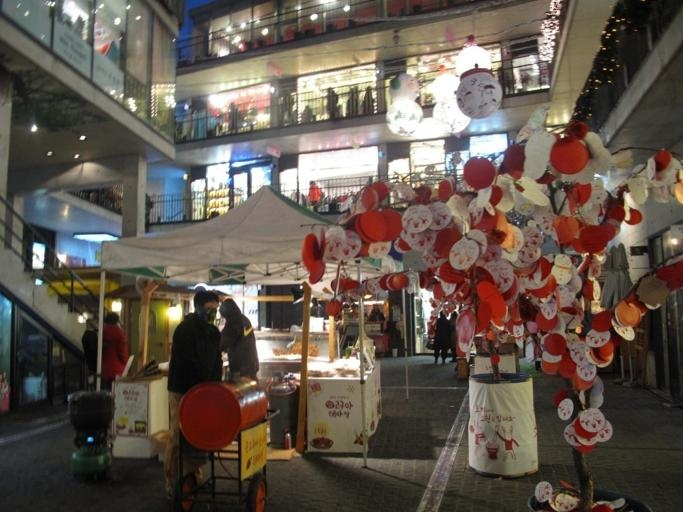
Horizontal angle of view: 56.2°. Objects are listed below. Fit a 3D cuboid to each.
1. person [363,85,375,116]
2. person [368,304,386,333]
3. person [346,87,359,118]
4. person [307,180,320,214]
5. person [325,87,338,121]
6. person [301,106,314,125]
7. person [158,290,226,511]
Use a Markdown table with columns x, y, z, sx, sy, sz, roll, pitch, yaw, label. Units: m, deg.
| x | y | z | sx | sy | sz | roll | pitch | yaw | label |
| --- | --- | --- | --- | --- | --- | --- | --- | --- | --- |
| 0.925 | -5.141 | 21.314 | 0.427 | 0.953 | 0.731 | -1 | 3 | -4 | person |
| 1.120 | 2.007 | 20.422 | 0.690 | 1.090 | 0.452 | -3 | -35 | 3 | person |
| 0.388 | -5.267 | 21.830 | 0.500 | 0.989 | 0.539 | 0 | 3 | 13 | person |
| -0.928 | -2.077 | 22.323 | 0.471 | 1.027 | 1.036 | -1 | 3 | -3 | person |
| -0.315 | -5.263 | 22.053 | 0.350 | 1.078 | 0.592 | -2 | 3 | -17 | person |
| -1.169 | -4.836 | 21.989 | 0.417 | 0.788 | 1.212 | -1 | 3 | -3 | person |
| -1.935 | 1.835 | 8.405 | 0.771 | 2.697 | 0.978 | -2 | 3 | -15 | person |
